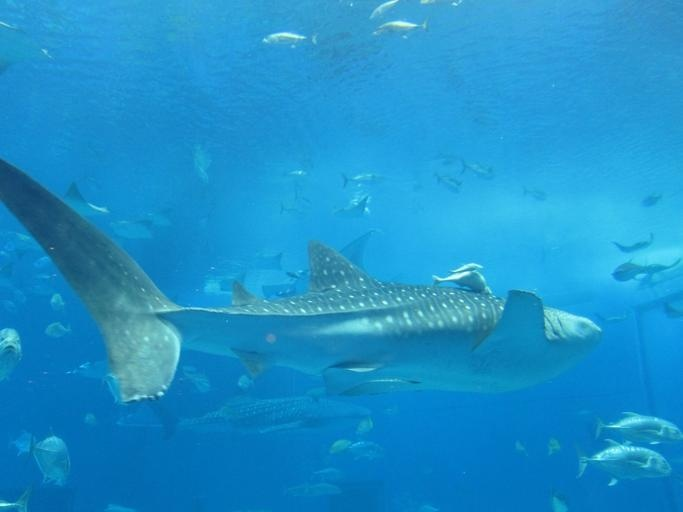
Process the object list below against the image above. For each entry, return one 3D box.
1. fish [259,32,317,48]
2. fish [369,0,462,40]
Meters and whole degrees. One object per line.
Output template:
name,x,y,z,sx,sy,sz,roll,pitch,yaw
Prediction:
fish,-1.315,-5.432,17.630,1.747,0.301,0.528,1,-19,-6
fish,1.816,-5.938,17.383,2.078,0.806,0.532,0,8,2
